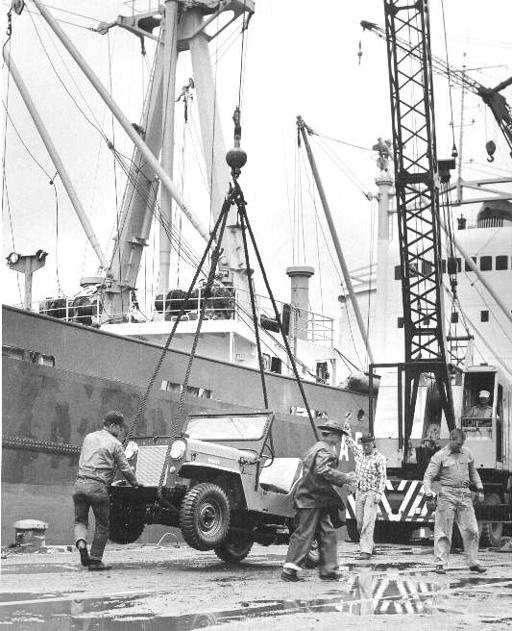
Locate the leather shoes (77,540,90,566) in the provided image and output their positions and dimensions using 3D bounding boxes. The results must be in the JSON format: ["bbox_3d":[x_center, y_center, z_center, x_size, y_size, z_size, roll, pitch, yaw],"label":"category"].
[{"bbox_3d":[-1.881,2.628,18.340,0.096,0.387,0.238,-4,0,-7],"label":"leather shoes"}]

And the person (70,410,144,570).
[{"bbox_3d":[-1.691,1.939,18.479,0.634,1.778,0.342,3,-7,-9],"label":"person"}]

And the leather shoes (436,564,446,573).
[{"bbox_3d":[2.190,2.964,19.416,0.122,0.104,0.238,1,-9,5],"label":"leather shoes"}]

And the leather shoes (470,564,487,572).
[{"bbox_3d":[2.672,3.003,19.738,0.197,0.099,0.326,1,-9,8],"label":"leather shoes"}]

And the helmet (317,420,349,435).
[{"bbox_3d":[0.926,1.199,18.472,0.255,0.096,0.245,25,-13,-30],"label":"helmet"}]

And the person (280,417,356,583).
[{"bbox_3d":[0.685,2.023,18.303,0.746,1.794,0.544,2,-7,-7],"label":"person"}]

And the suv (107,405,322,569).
[{"bbox_3d":[-0.405,2.042,19.801,1.356,1.729,2.549,-10,-23,38],"label":"suv"}]

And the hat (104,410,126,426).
[{"bbox_3d":[-1.565,1.147,18.645,0.123,0.122,0.191,14,11,39],"label":"hat"}]

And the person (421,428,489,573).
[{"bbox_3d":[2.480,2.305,20.435,0.744,1.727,2.030,1,-8,7],"label":"person"}]
